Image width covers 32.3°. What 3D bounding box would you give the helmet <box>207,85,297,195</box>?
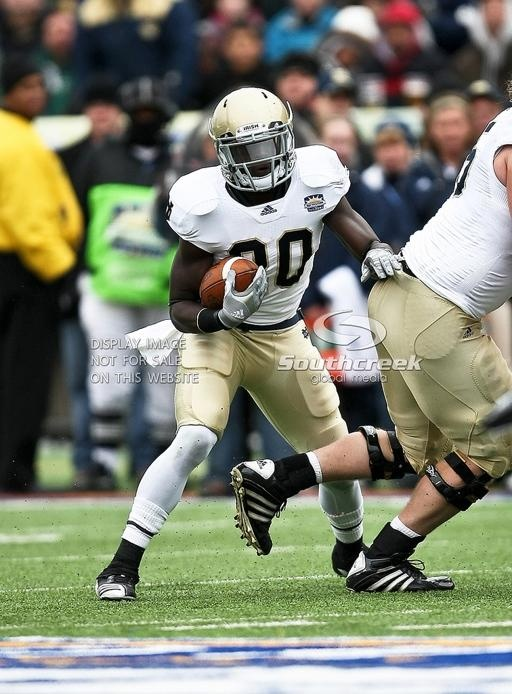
[{"bbox_3d":[-0.010,-0.597,2.468,0.273,0.236,0.281,-9,47,2],"label":"helmet"}]

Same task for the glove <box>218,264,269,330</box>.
[{"bbox_3d":[-0.026,-0.125,2.370,0.134,0.062,0.163,19,67,42],"label":"glove"}]

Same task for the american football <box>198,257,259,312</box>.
[{"bbox_3d":[-0.085,-0.177,2.412,0.097,0.172,0.123,54,30,1],"label":"american football"}]

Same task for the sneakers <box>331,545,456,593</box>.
[{"bbox_3d":[0.373,0.627,2.460,0.373,0.104,0.124,1,80,-5],"label":"sneakers"}]
